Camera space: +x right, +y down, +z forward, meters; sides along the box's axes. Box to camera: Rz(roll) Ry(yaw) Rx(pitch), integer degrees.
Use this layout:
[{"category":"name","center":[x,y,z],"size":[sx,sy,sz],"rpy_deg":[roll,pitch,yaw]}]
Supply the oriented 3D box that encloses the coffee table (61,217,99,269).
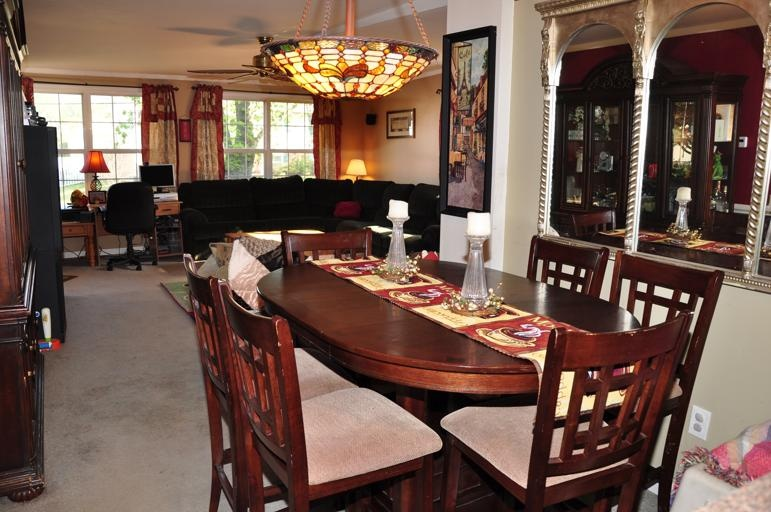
[{"category":"coffee table","center":[-4.062,-0.148,7.387],"size":[0.582,0.669,0.606],"rpy_deg":[1,4,-4]}]

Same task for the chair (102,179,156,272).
[{"category":"chair","center":[-3.407,-0.388,7.336],"size":[0.615,1.183,0.682],"rpy_deg":[10,18,33]}]

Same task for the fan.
[{"category":"fan","center":[-1.416,-2.067,5.949],"size":[0.769,0.141,0.763],"rpy_deg":[-25,3,43]}]

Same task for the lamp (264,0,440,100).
[{"category":"lamp","center":[-0.176,-0.939,2.840],"size":[0.662,0.644,0.654],"rpy_deg":[12,17,33]}]

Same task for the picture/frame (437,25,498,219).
[{"category":"picture/frame","center":[0.637,-0.994,4.238],"size":[0.195,1.404,0.646],"rpy_deg":[-7,17,-26]}]

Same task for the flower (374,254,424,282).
[{"category":"flower","center":[0.081,0.057,3.044],"size":[0.160,0.060,0.169],"rpy_deg":[-3,11,-19]}]

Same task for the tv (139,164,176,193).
[{"category":"tv","center":[-3.270,-1.101,7.901],"size":[0.543,0.523,0.189],"rpy_deg":[-4,4,-27]}]

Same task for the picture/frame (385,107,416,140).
[{"category":"picture/frame","center":[0.271,-2.118,8.821],"size":[0.033,0.425,0.634],"rpy_deg":[-3,11,-31]}]

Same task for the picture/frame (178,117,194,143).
[{"category":"picture/frame","center":[-3.117,-1.945,8.598],"size":[0.211,0.356,0.113],"rpy_deg":[-6,16,-23]}]

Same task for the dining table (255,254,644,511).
[{"category":"dining table","center":[0.288,0.325,2.501],"size":[1.119,0.585,1.612],"rpy_deg":[-5,17,-25]}]

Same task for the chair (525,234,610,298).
[{"category":"chair","center":[1.078,0.067,3.202],"size":[0.330,0.522,0.310],"rpy_deg":[-4,14,-39]}]

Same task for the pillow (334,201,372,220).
[{"category":"pillow","center":[-0.517,-0.716,8.647],"size":[0.378,0.133,0.372],"rpy_deg":[-2,24,3]}]

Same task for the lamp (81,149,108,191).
[{"category":"lamp","center":[-4.129,-1.203,7.844],"size":[0.314,0.559,0.669],"rpy_deg":[-8,16,-28]}]
